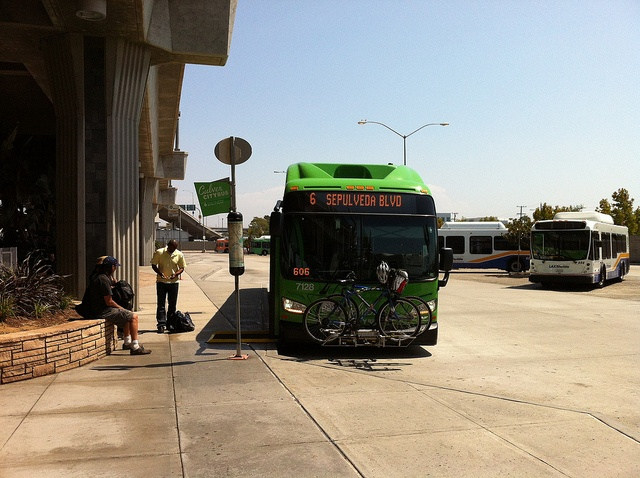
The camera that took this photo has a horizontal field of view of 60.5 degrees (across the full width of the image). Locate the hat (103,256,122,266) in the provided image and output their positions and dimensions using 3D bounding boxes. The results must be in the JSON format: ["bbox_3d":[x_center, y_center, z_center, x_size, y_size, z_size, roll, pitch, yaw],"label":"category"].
[{"bbox_3d":[-4.242,0.435,11.169,0.377,0.233,0.262,-3,8,-36],"label":"hat"}]

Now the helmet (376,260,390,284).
[{"bbox_3d":[1.179,0.626,10.225,0.104,0.388,0.255,0,-2,26],"label":"helmet"}]

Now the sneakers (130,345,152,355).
[{"bbox_3d":[-3.279,2.040,10.124,0.403,0.183,0.153,1,-1,-9],"label":"sneakers"}]

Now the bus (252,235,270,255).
[{"bbox_3d":[-8.705,0.965,81.087,2.091,2.976,11.783,-1,-2,-8],"label":"bus"}]

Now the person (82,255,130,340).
[{"bbox_3d":[-3.873,1.139,9.939,0.881,1.611,0.373,-1,-1,-26],"label":"person"}]

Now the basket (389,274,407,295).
[{"bbox_3d":[1.494,0.808,10.305,0.306,0.414,0.296,-1,-1,7],"label":"basket"}]

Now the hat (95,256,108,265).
[{"bbox_3d":[-4.333,0.419,10.873,0.185,0.098,0.270,-7,13,27],"label":"hat"}]

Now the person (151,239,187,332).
[{"bbox_3d":[-3.457,1.051,12.529,0.690,2.041,1.527,-1,-1,-16],"label":"person"}]

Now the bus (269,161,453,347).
[{"bbox_3d":[0.711,0.000,10.511,1.816,2.652,5.815,1,-4,-3],"label":"bus"}]

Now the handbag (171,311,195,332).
[{"bbox_3d":[-3.072,1.839,12.352,0.436,0.503,0.404,2,9,4],"label":"handbag"}]

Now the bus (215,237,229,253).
[{"bbox_3d":[-15.901,1.045,88.617,1.724,2.430,5.033,2,8,7],"label":"bus"}]

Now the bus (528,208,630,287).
[{"bbox_3d":[13.821,0.478,28.272,2.731,2.781,10.753,-2,-2,40],"label":"bus"}]

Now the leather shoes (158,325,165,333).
[{"bbox_3d":[-3.529,1.992,12.175,0.130,0.139,0.134,-2,16,-19],"label":"leather shoes"}]
